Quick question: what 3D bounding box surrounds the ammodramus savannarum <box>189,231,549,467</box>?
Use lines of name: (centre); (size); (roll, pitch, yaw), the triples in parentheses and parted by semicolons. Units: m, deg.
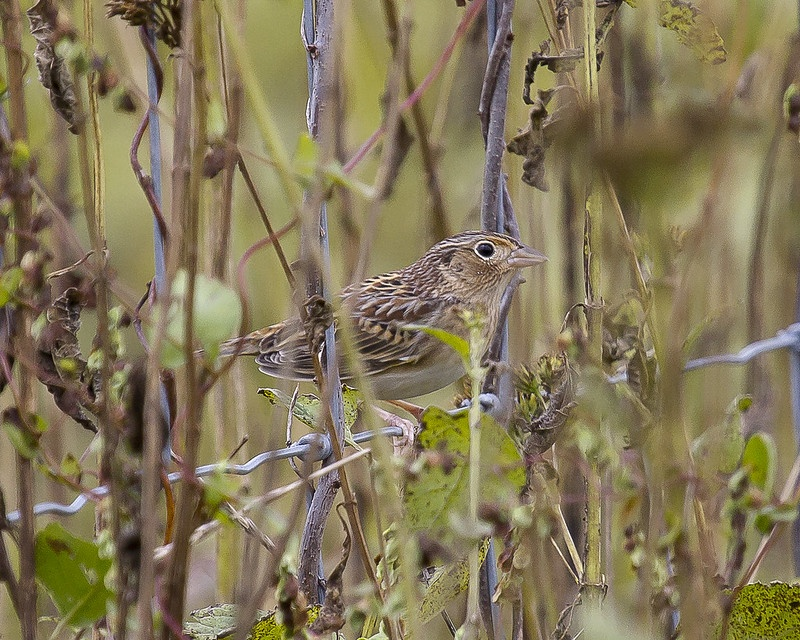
ammodramus savannarum: (-0.146, 0.038, 3.187); (1.031, 0.794, 0.395); (0, 5, 9)
